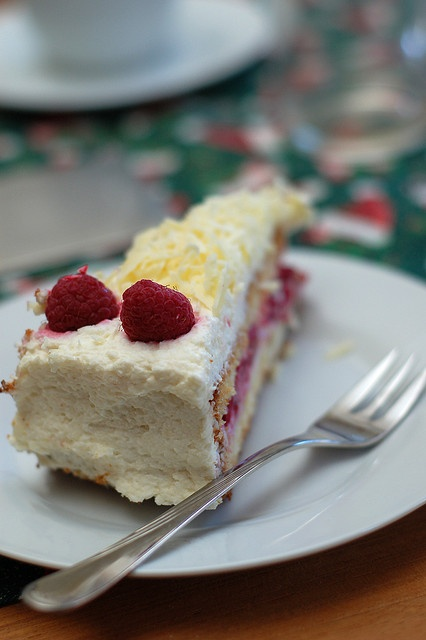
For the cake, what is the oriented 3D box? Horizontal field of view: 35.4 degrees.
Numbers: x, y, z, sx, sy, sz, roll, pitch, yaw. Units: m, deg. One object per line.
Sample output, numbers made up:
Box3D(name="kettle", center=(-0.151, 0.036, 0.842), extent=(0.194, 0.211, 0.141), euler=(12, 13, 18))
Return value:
Box3D(name="cake", center=(-0.011, -0.002, 1.366), extent=(0.451, 0.277, 0.729), euler=(7, 41, 36))
